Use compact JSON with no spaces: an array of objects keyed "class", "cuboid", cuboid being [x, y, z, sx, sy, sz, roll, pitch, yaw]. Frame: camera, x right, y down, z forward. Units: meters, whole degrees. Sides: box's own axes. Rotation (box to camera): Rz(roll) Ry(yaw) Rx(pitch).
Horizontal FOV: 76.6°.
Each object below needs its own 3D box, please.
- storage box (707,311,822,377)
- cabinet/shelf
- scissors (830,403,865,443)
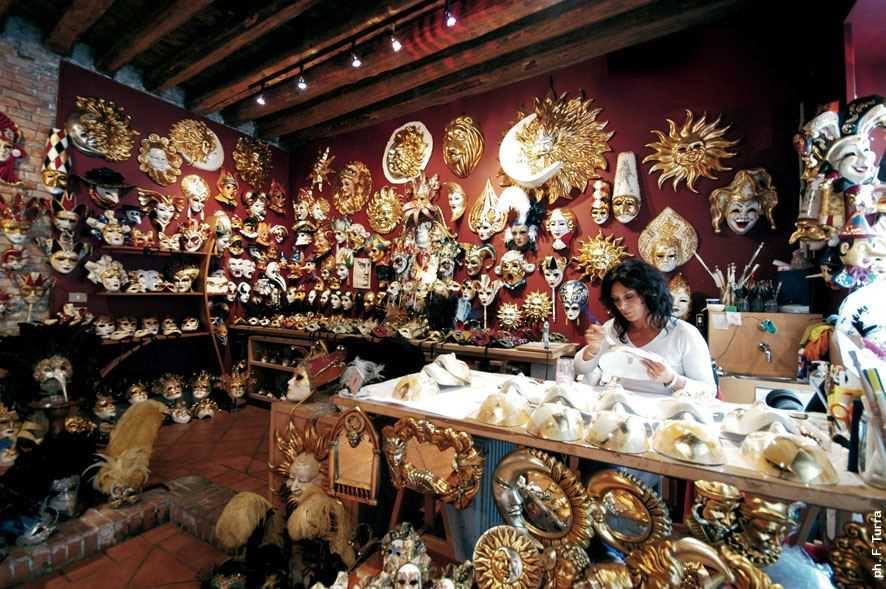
[{"class":"storage box","cuboid":[2.395,0.250,4.283,0.806,0.570,0.442,-1,-2,29]},{"class":"cabinet/shelf","cuboid":[-1.026,0.227,5.160,3.884,1.707,2.050,0,-1,32]},{"class":"scissors","cuboid":[2.071,0.669,2.891,0.145,0.198,0.046,3,0,-34]}]
